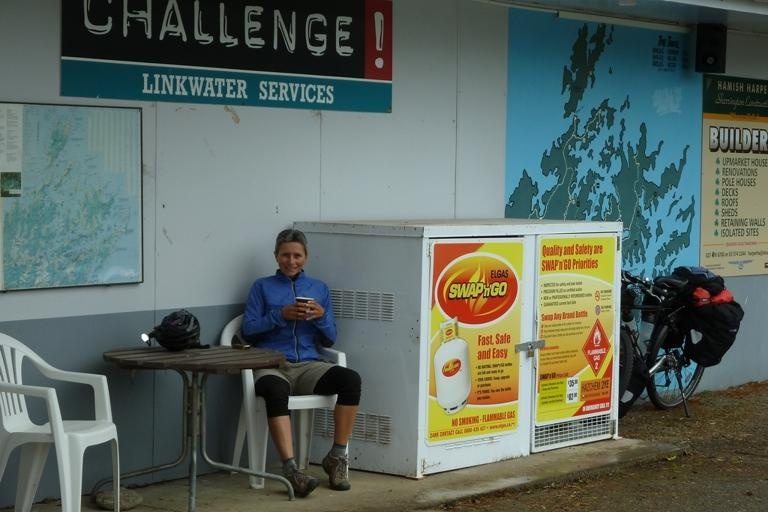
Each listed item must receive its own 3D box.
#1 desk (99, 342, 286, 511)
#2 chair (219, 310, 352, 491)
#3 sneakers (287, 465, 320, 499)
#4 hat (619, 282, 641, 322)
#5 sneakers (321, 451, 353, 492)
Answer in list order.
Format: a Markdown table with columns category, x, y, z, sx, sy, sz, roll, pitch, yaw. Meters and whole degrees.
| category | x | y | z | sx | sy | sz | roll | pitch | yaw |
| --- | --- | --- | --- | --- | --- | --- | --- | --- | --- |
| desk | -1.452 | 1.227 | 5.136 | 1.239 | 0.965 | 1.269 | 6 | 3 | 36 |
| chair | -0.681 | 1.293 | 6.030 | 1.264 | 1.598 | 1.222 | 5 | -8 | -33 |
| sneakers | -0.580 | 1.743 | 5.234 | 0.334 | 0.166 | 0.133 | 5 | 23 | 38 |
| hat | 2.740 | 0.519 | 7.480 | 0.184 | 0.420 | 0.296 | 6 | 6 | 20 |
| sneakers | -0.379 | 1.723 | 5.451 | 0.153 | 0.307 | 0.293 | -1 | 8 | -42 |
